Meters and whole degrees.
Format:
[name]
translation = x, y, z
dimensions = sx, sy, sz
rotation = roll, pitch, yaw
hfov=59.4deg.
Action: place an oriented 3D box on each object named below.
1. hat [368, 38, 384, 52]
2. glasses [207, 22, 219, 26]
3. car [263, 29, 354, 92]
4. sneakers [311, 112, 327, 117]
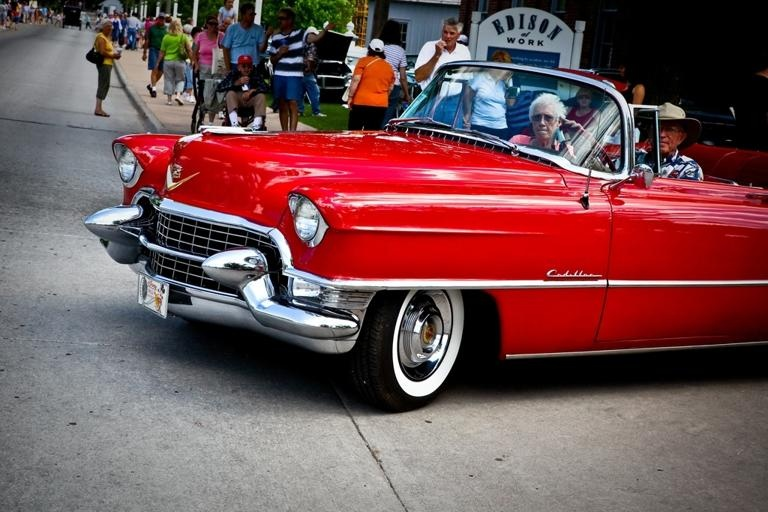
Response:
[hat]
translation = -0.136, -3.480, 11.242
dimensions = 0.225, 0.206, 0.286
rotation = 5, 14, -6
[glasses]
translation = -3.811, -5.087, 14.843
dimensions = 0.079, 0.117, 0.255
rotation = 19, 18, 36
[car]
translation = -3.055, -7.091, 24.736
dimensions = 2.331, 1.521, 3.694
rotation = -21, 47, -30
[sneakers]
translation = -1.912, -4.069, 19.525
dimensions = 0.420, 0.143, 0.145
rotation = 2, 3, 13
